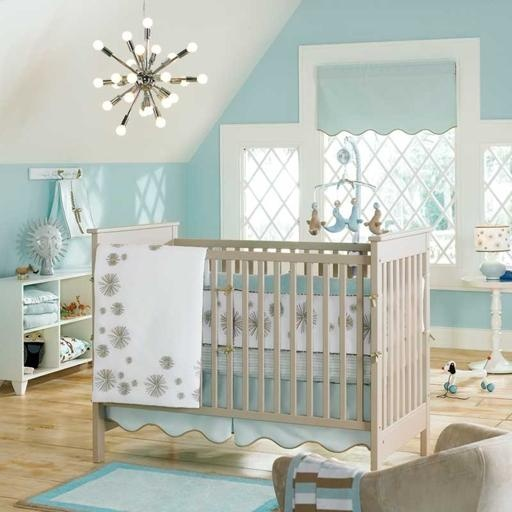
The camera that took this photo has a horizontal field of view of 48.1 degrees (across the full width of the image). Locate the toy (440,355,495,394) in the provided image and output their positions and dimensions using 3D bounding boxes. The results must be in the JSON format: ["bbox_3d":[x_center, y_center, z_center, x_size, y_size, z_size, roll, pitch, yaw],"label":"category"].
[{"bbox_3d":[1.286,0.715,3.484,0.333,0.288,0.178,1,-4,4],"label":"toy"}]

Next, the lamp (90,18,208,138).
[{"bbox_3d":[-0.538,-1.005,2.762,0.444,0.590,0.437,-1,3,40],"label":"lamp"}]

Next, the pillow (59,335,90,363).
[{"bbox_3d":[-1.186,0.610,3.762,0.056,0.137,0.198,-11,-10,26],"label":"pillow"}]

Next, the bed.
[{"bbox_3d":[0.157,0.353,2.576,1.384,1.185,0.940,0,0,25],"label":"bed"}]

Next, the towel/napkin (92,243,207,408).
[{"bbox_3d":[-0.428,0.271,2.303,0.578,0.867,0.082,1,1,14],"label":"towel/napkin"}]
